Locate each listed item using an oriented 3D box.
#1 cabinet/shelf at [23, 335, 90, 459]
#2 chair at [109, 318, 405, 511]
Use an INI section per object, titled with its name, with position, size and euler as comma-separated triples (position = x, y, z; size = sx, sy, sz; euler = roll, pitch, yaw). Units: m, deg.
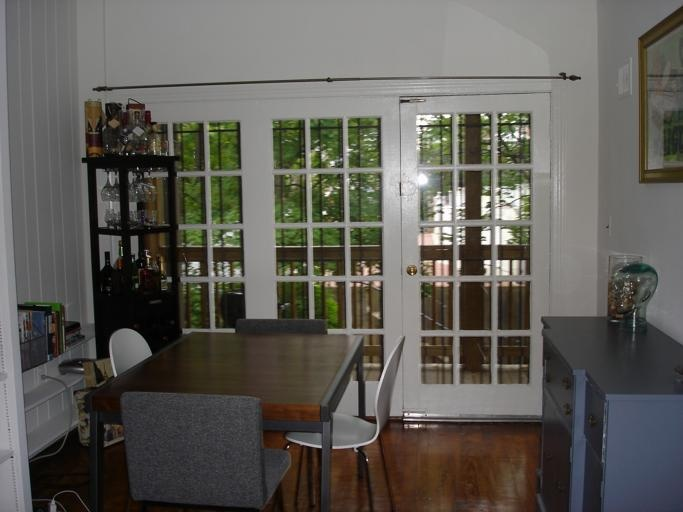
[cabinet/shelf]
position = -1.937, 0.972, 4.273
size = 0.144, 0.377, 0.770
euler = -4, 13, 7
[chair]
position = -0.385, 0.837, 3.190
size = 1.112, 0.718, 1.009
euler = 0, 10, 3
